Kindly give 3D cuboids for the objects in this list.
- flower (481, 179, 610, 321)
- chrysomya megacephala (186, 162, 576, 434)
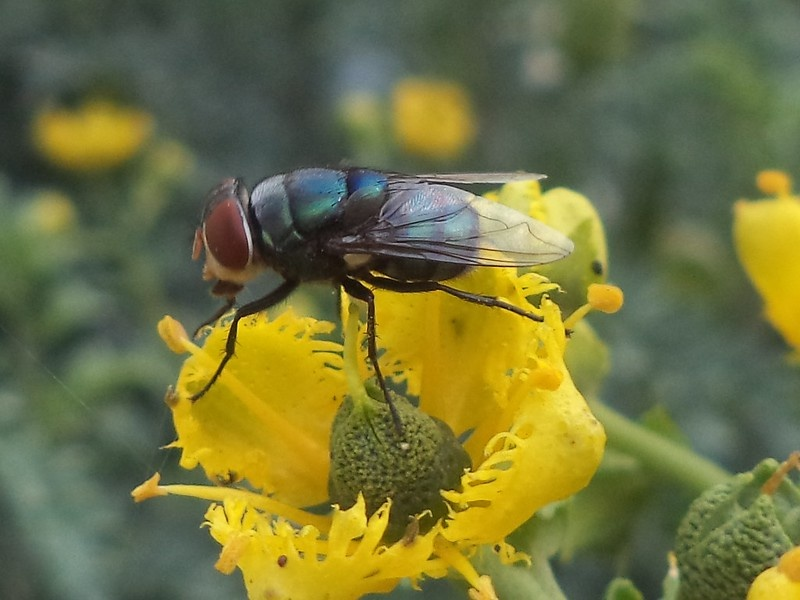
[{"bbox_3d":[0.205,-0.055,1.666,0.191,0.167,0.059,23,1,28],"label":"flower"},{"bbox_3d":[-0.033,-0.075,1.632,0.378,0.177,0.412,-13,23,3],"label":"chrysomya megacephala"}]
